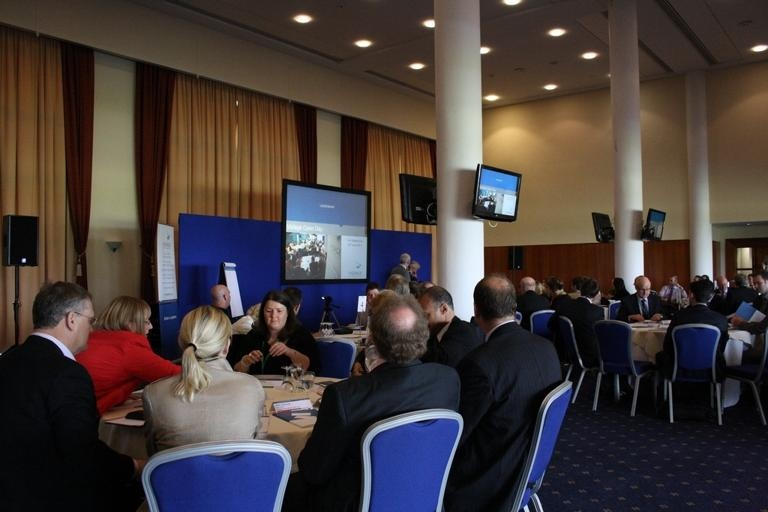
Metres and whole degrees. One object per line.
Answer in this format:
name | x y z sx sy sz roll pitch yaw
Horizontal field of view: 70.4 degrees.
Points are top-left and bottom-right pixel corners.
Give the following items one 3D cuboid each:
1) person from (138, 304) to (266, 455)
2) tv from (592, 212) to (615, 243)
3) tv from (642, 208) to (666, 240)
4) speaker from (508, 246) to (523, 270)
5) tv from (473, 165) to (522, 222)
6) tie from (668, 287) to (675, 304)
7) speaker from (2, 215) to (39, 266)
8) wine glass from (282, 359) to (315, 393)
person | -1.041 0.720 3.141 0.641 0.851 0.342 -1 -1 15
tv | 4.611 -0.617 11.313 0.355 0.539 0.707 -8 -7 40
tv | 4.987 -0.607 10.037 0.164 0.644 1.638 -1 -2 34
speaker | 3.190 0.043 13.098 0.157 0.544 0.516 -1 -3 29
tv | 1.330 -0.737 6.374 0.090 0.594 0.949 10 6 41
tie | 6.013 0.839 11.287 0.064 0.222 0.149 -1 4 16
speaker | -4.487 -0.195 6.689 0.360 0.601 0.216 1 -2 -33
wine glass | -0.661 0.939 4.170 0.211 0.206 0.174 -3 -2 12
